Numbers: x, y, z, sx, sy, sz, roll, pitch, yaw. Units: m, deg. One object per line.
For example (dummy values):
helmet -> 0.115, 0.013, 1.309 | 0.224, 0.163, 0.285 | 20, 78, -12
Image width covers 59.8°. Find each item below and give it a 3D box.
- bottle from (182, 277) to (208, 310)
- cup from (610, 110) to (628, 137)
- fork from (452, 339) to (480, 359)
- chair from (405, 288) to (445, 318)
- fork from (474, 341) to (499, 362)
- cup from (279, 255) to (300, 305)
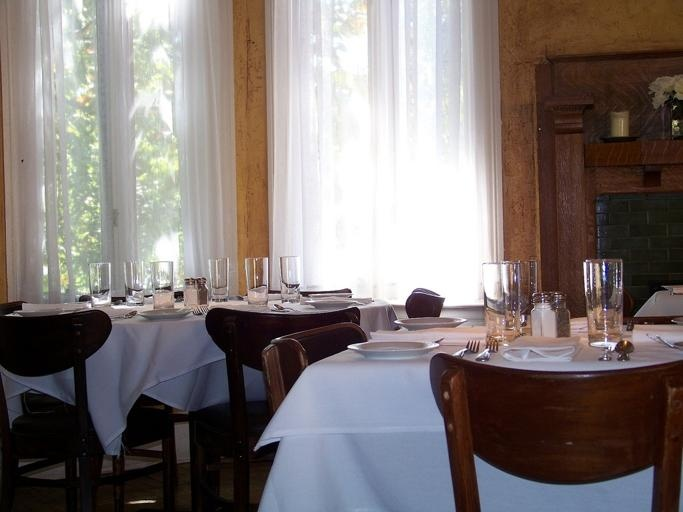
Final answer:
bottle -> -0.686, 0.177, 2.838 | 0.114, 0.200, 0.126 | 0, 1, -3
cup -> 1.899, -0.881, 4.031 | 0.122, 0.190, 0.259 | -3, 2, 26
fork -> 0.321, 0.238, 1.519 | 0.013, 0.013, 0.082 | 12, 29, 28
chair -> 0.408, 0.236, 2.905 | 0.146, 0.145, 0.133 | 6, -14, 2
fork -> 0.368, 0.222, 1.491 | 0.031, 0.031, 0.195 | 6, 5, 23
cup -> -0.243, 0.114, 2.838 | 0.097, 0.190, 0.189 | -4, 1, -7
